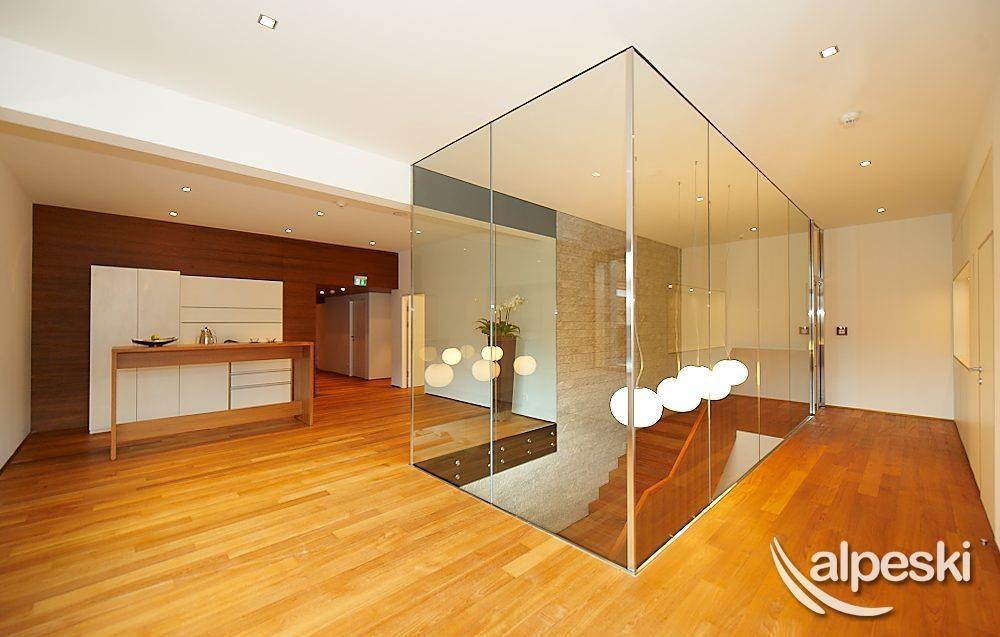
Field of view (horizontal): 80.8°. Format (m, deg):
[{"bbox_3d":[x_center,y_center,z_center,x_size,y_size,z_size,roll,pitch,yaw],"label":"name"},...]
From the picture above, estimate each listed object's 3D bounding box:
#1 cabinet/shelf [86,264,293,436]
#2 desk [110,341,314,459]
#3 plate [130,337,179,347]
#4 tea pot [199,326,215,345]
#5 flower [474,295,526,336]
[{"bbox_3d":[-4.574,0.506,8.524,2.628,2.257,0.807,1,-2,-35],"label":"cabinet/shelf"},{"bbox_3d":[-3.915,0.975,8.190,2.603,1.257,0.754,-1,1,-43],"label":"desk"},{"bbox_3d":[-4.532,0.315,7.751,0.372,0.088,0.351,-1,1,-26],"label":"plate"},{"bbox_3d":[-4.413,0.256,8.879,0.250,0.248,0.234,-2,4,0],"label":"tea pot"},{"bbox_3d":[0.007,-0.026,5.950,0.425,0.268,0.402,0,0,-29],"label":"flower"}]
